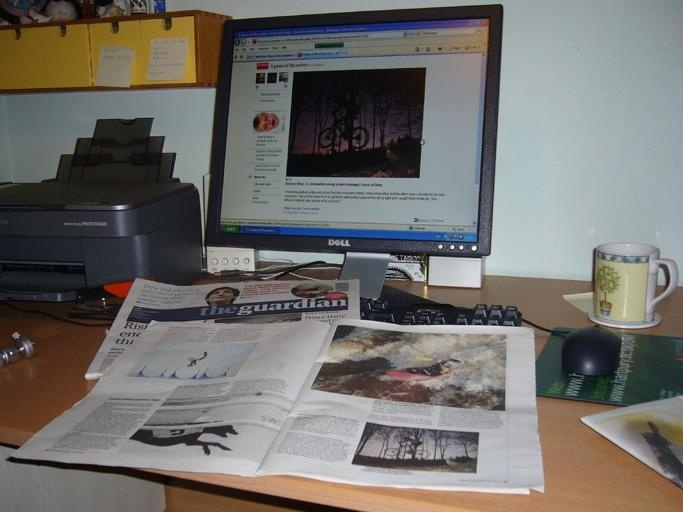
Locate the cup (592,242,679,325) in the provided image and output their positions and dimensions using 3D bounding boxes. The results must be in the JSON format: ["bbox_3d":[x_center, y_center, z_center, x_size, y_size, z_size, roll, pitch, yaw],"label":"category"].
[{"bbox_3d":[0.530,0.040,1.021,0.140,0.136,0.172,-9,12,-38],"label":"cup"}]

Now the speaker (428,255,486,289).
[{"bbox_3d":[0.255,0.039,1.175,0.090,0.050,0.088,2,6,13],"label":"speaker"}]

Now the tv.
[{"bbox_3d":[0.036,-0.203,1.048,0.753,0.636,0.230,2,1,12],"label":"tv"}]

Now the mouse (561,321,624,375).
[{"bbox_3d":[0.395,0.130,0.824,0.090,0.044,0.130,2,23,30],"label":"mouse"}]
